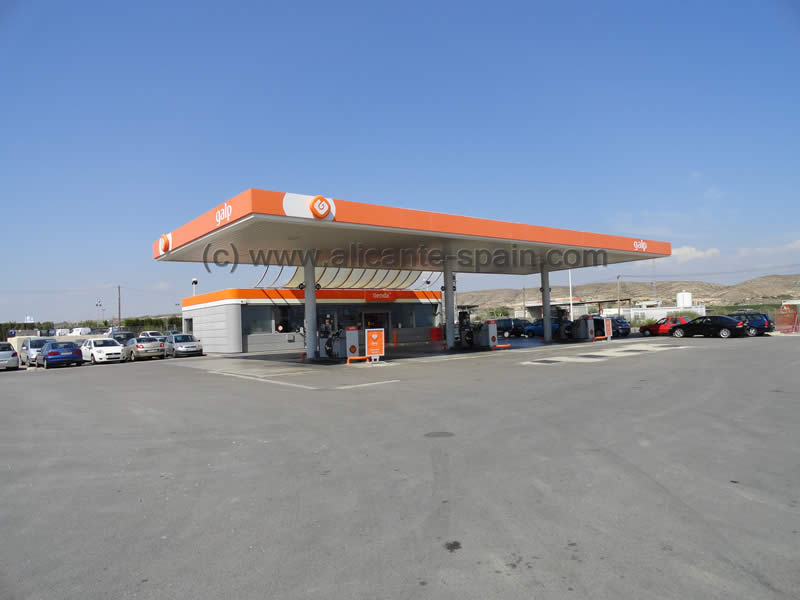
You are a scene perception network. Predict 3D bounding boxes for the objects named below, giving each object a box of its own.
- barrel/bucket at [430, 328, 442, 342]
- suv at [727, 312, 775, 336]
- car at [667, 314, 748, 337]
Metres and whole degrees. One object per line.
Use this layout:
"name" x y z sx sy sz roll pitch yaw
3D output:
"barrel/bucket" 2.385 2.259 39.759 0.787 0.907 0.791 0 0 0
"suv" 18.991 1.292 33.314 2.162 0.948 1.200 1 -1 29
"car" 16.836 1.479 33.475 3.078 1.033 1.373 0 -4 40
